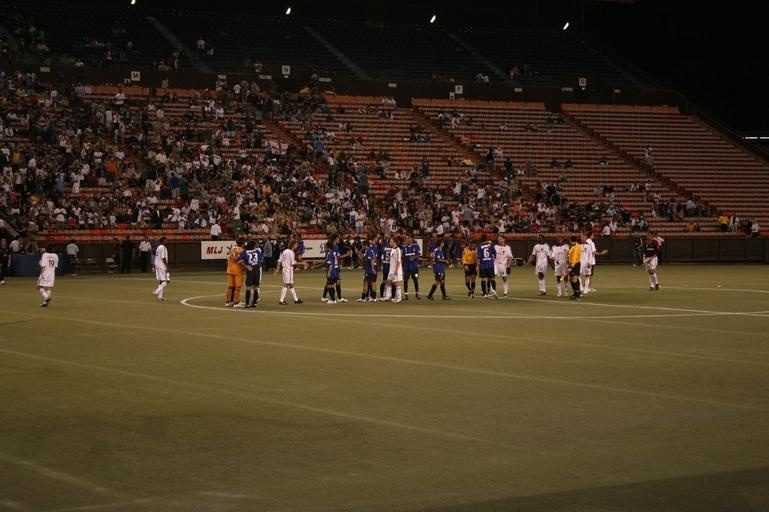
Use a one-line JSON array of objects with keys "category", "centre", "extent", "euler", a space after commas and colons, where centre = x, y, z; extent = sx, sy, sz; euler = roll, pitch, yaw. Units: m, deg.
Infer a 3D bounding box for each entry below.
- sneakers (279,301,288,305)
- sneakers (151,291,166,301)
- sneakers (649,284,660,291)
[{"category": "sneakers", "centre": [-3.503, 1.640, 29.634], "extent": [0.287, 0.120, 0.105], "euler": [-2, 3, 0]}, {"category": "sneakers", "centre": [-8.170, 1.474, 31.033], "extent": [0.384, 0.264, 0.124], "euler": [22, 18, -43]}, {"category": "sneakers", "centre": [10.901, 1.275, 34.844], "extent": [0.219, 0.279, 0.665], "euler": [3, 8, 6]}]
